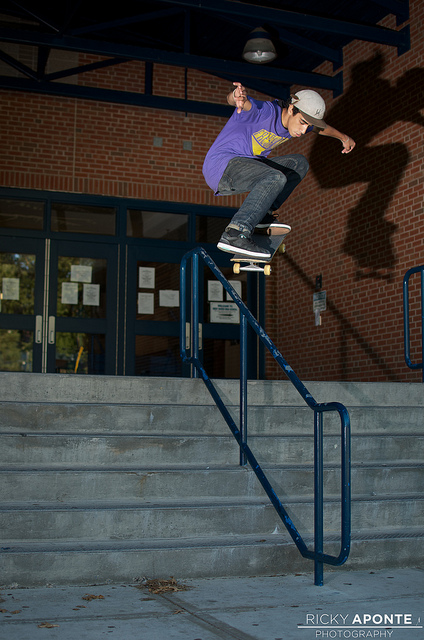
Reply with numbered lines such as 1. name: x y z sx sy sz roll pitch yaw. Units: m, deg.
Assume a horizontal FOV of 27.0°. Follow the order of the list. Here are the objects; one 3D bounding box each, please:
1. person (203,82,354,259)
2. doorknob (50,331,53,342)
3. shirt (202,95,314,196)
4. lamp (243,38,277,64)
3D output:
1. person: 0.390 -1.010 6.252 0.891 1.153 0.892 1 -2 -2
2. doorknob: -1.894 0.175 10.409 0.022 0.125 0.015 1 -2 -16
3. shirt: 0.202 -1.263 6.341 0.753 0.214 0.767 -29 -32 34
4. lamp: 0.465 -2.668 8.709 0.257 0.222 0.247 3 -10 -3
